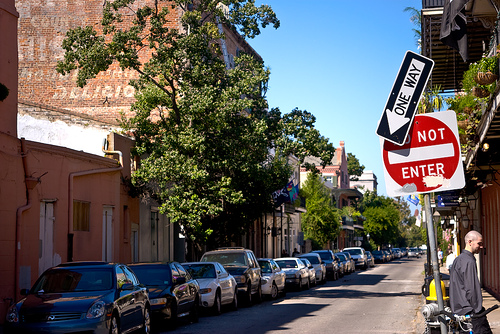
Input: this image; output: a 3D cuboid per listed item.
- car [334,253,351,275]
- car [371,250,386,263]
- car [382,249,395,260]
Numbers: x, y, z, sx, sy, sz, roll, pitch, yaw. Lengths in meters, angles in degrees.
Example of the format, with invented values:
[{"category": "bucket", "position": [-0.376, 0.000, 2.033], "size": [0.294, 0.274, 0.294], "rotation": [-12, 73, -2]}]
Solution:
[{"category": "car", "position": [7.783, 7.942, 51.674], "size": [1.045, 1.103, 2.527], "rotation": [-2, -14, 11]}, {"category": "car", "position": [17.181, 11.900, 83.016], "size": [1.148, 1.024, 2.116], "rotation": [-2, -16, 8]}, {"category": "car", "position": [20.912, 12.889, 93.373], "size": [1.763, 1.733, 3.283], "rotation": [-2, -21, 11]}]
